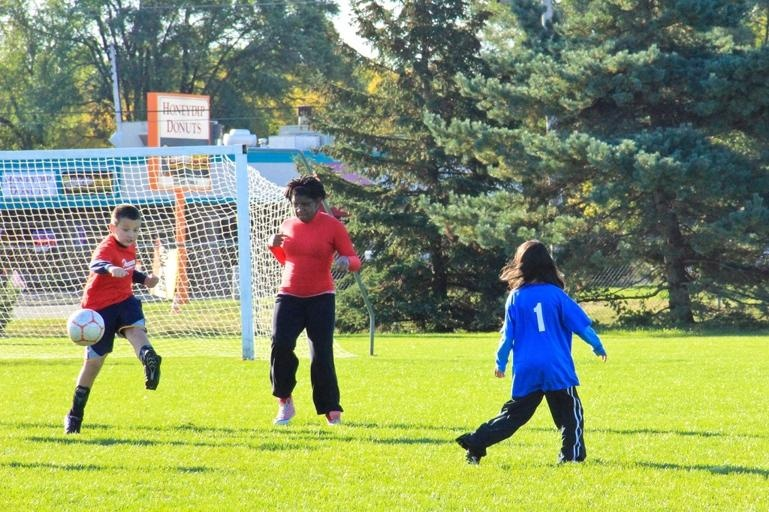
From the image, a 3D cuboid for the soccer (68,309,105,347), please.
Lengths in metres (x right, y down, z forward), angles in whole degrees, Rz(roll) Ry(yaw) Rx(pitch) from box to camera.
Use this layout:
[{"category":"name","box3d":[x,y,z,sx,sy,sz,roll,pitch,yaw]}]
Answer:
[{"category":"soccer","box3d":[-6.133,1.484,23.425,0.709,0.798,0.706,0,8,9]}]
